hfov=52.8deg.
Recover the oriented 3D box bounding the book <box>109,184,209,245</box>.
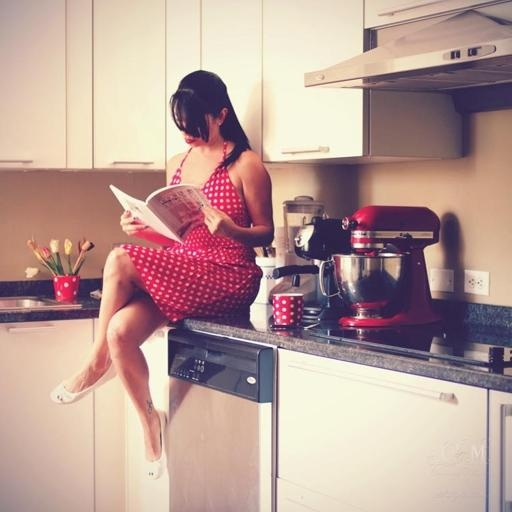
[{"bbox_3d":[-0.264,-0.126,1.404,0.242,0.155,0.105,-19,40,20],"label":"book"}]

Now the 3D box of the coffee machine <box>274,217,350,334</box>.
[{"bbox_3d":[0.145,0.037,1.598,0.140,0.305,0.286,-8,-13,0],"label":"coffee machine"}]

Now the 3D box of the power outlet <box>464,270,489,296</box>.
[{"bbox_3d":[0.701,0.082,1.633,0.008,0.081,0.076,0,2,-32],"label":"power outlet"}]

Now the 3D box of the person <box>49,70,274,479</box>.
[{"bbox_3d":[-0.293,0.016,1.619,0.640,1.203,0.470,-5,8,-35],"label":"person"}]

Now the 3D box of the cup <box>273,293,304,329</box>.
[{"bbox_3d":[0.092,0.148,1.406,0.076,0.079,0.083,1,-1,0],"label":"cup"}]

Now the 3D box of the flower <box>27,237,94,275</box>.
[{"bbox_3d":[-0.884,0.000,2.355,0.209,0.242,0.206,1,2,34],"label":"flower"}]

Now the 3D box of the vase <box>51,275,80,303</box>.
[{"bbox_3d":[-0.804,0.136,2.190,0.106,0.099,0.101,-1,-2,45],"label":"vase"}]

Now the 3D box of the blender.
[{"bbox_3d":[0.362,0.022,1.460,0.323,0.338,0.195,0,-2,-14],"label":"blender"}]
